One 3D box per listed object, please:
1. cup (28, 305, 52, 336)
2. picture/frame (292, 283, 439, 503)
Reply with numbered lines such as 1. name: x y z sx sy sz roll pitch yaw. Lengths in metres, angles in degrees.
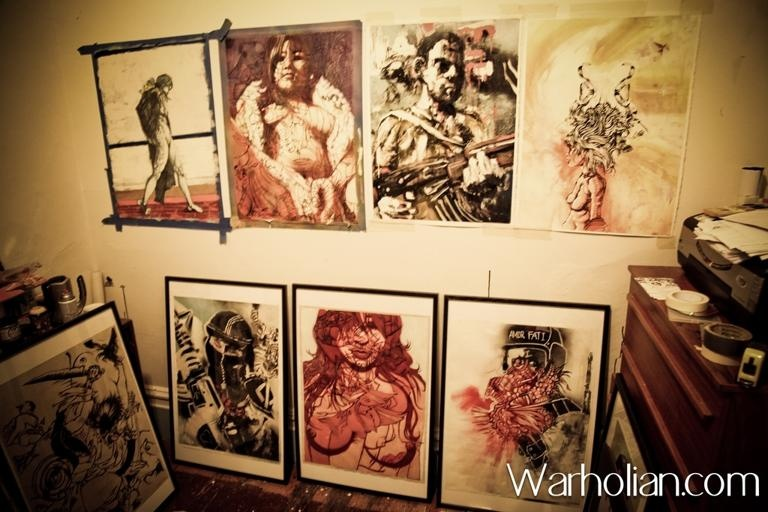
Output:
1. cup: -1.863 0.353 2.763 0.111 0.183 0.108 0 11 0
2. picture/frame: -0.076 0.775 3.002 1.186 1.691 0.074 2 7 10
